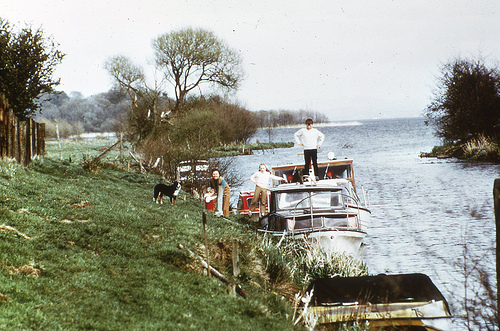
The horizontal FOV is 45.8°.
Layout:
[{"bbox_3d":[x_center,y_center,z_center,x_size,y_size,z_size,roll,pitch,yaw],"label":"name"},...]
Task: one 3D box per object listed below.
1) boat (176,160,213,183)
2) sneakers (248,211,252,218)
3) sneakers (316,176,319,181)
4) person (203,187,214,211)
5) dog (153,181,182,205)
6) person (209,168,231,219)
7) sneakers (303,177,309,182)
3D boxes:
[{"bbox_3d":[-4.135,0.384,44.008,2.288,1.659,1.635,-3,6,-3],"label":"boat"},{"bbox_3d":[0.002,2.766,33.626,0.192,0.528,0.294,0,-12,12],"label":"sneakers"},{"bbox_3d":[3.469,0.670,30.397,0.151,0.240,0.166,0,-6,2],"label":"sneakers"},{"bbox_3d":[-2.170,1.764,30.948,0.546,1.666,0.657,-5,18,-5],"label":"person"},{"bbox_3d":[-4.314,1.380,30.554,1.814,1.337,0.507,6,7,28],"label":"dog"},{"bbox_3d":[-1.574,1.747,30.276,0.874,3.142,1.373,0,2,25],"label":"person"},{"bbox_3d":[2.842,0.633,30.001,0.130,0.284,0.258,-12,6,-11],"label":"sneakers"}]
